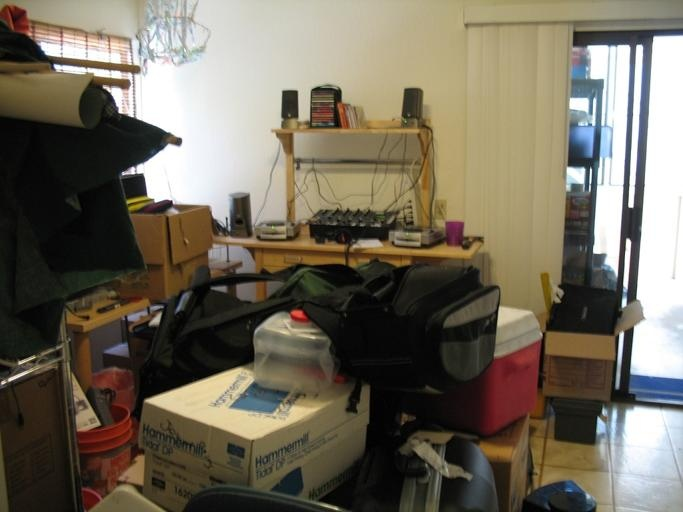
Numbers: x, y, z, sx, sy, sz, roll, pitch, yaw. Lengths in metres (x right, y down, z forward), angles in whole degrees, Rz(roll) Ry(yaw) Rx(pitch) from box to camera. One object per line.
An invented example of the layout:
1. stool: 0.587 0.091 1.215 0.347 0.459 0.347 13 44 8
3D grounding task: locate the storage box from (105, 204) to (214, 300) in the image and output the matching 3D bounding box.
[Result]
1. storage box: -1.096 -0.062 3.690 0.399 0.511 0.660 4 12 15

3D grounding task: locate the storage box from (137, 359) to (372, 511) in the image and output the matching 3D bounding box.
1. storage box: -0.278 0.502 1.680 0.349 0.271 0.498 5 10 27

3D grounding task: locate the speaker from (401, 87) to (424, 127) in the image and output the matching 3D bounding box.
1. speaker: 0.462 -0.978 3.806 0.130 0.250 0.179 3 14 20

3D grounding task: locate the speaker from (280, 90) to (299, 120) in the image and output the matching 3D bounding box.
1. speaker: -0.353 -1.029 3.979 0.152 0.276 0.171 -2 9 -9

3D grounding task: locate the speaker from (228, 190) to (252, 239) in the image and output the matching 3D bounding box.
1. speaker: -0.698 -0.289 4.049 0.214 0.424 0.260 -1 3 -8

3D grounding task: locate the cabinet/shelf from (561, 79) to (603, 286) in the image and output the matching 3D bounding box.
1. cabinet/shelf: 1.574 -0.483 3.828 0.205 1.335 0.087 5 14 26

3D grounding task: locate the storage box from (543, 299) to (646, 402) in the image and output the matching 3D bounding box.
1. storage box: 1.463 0.543 3.551 0.567 0.645 0.434 4 8 20
